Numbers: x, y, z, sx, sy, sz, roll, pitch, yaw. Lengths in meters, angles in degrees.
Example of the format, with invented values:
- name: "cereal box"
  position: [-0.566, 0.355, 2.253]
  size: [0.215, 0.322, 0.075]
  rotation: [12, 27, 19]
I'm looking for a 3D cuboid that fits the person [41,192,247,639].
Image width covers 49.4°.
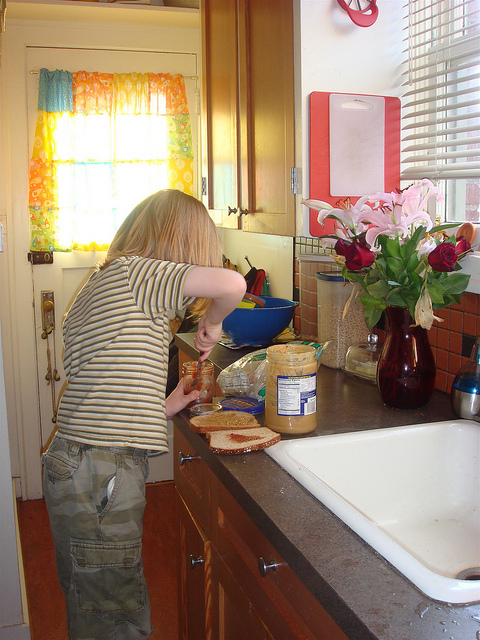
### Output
- name: "person"
  position: [-0.230, 0.237, 1.223]
  size: [0.490, 1.088, 0.312]
  rotation: [0, 6, 0]

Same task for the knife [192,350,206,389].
- name: "knife"
  position: [-0.092, 0.113, 1.217]
  size: [0.015, 0.013, 0.091]
  rotation: [2, 52, 19]

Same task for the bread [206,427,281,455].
- name: "bread"
  position: [0.004, 0.207, 0.910]
  size: [0.117, 0.029, 0.120]
  rotation: [-2, 6, -11]

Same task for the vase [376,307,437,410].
- name: "vase"
  position: [0.339, 0.079, 1.062]
  size: [0.113, 0.210, 0.070]
  rotation: [2, 6, 18]

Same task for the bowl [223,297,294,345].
- name: "bowl"
  position: [0.047, 0.012, 1.775]
  size: [0.268, 0.130, 0.278]
  rotation: [0, 7, 0]
